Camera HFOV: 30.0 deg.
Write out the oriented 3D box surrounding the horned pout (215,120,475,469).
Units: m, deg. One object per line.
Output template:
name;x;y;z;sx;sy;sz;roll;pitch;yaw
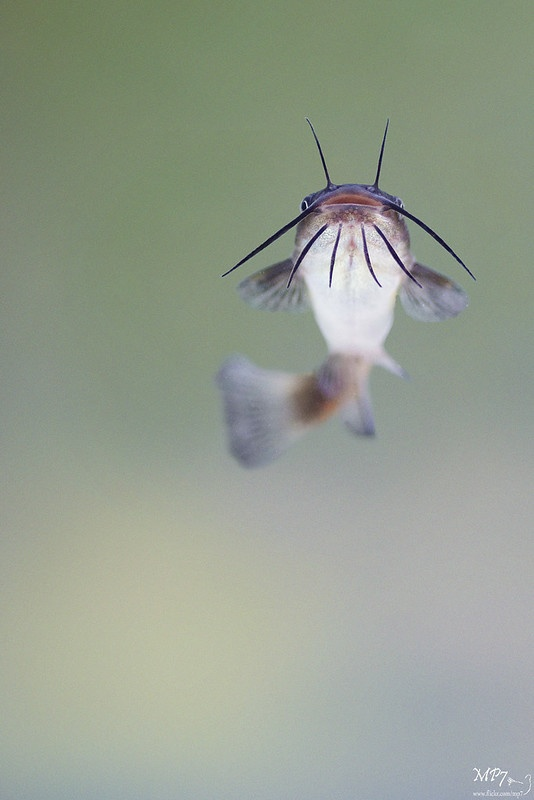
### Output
horned pout;0.148;-0.139;1.628;0.500;0.195;0.573;1;-40;10
